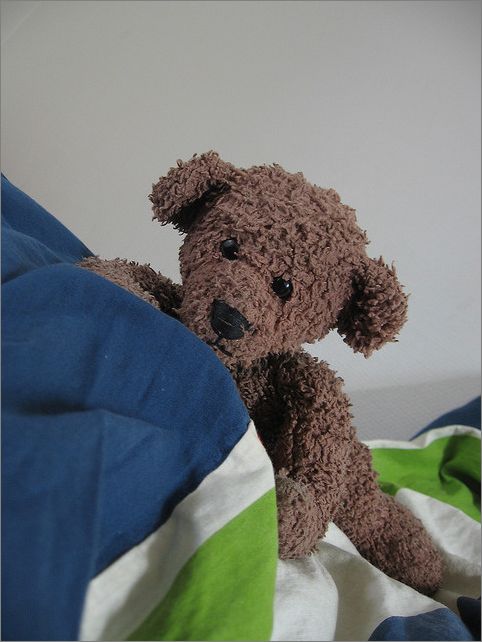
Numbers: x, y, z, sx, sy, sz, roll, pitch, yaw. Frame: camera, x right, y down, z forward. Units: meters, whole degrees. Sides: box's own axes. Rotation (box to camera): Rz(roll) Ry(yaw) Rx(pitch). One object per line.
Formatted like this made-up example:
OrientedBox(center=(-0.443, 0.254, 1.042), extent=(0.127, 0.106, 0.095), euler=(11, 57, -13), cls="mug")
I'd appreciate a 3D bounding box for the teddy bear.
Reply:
OrientedBox(center=(0.036, 0.055, 0.768), extent=(0.417, 0.443, 0.204), euler=(11, 8, 15), cls="teddy bear")
